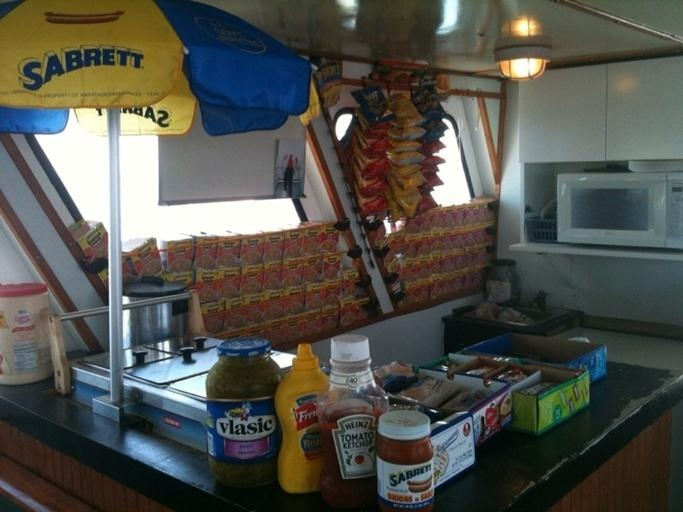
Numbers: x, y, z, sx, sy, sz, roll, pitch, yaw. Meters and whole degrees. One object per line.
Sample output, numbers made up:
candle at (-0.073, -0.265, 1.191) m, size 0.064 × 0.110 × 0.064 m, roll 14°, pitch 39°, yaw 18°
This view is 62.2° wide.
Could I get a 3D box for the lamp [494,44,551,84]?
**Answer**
lamp at (0.889, -0.945, 2.772) m, size 0.249 × 0.148 × 0.217 m, roll -2°, pitch 10°, yaw 14°
